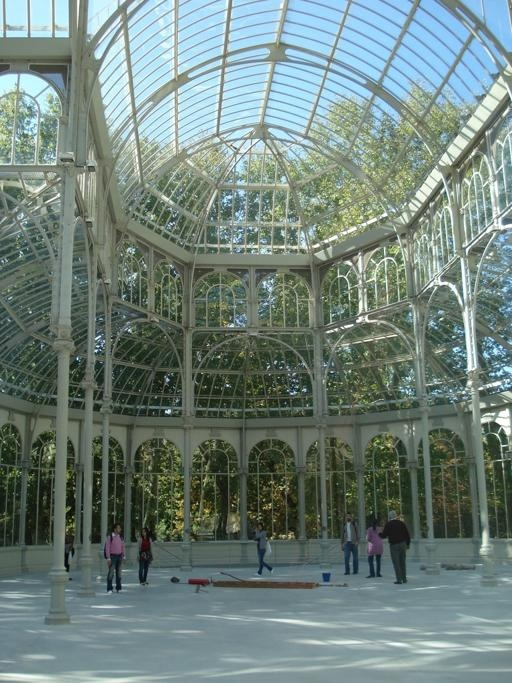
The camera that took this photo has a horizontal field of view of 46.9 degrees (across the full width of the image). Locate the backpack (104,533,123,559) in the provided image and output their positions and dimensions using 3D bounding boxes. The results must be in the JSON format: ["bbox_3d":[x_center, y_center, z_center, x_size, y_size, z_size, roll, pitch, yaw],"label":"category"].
[{"bbox_3d":[-3.882,5.546,15.923,0.384,0.669,0.791,-5,-15,14],"label":"backpack"}]
